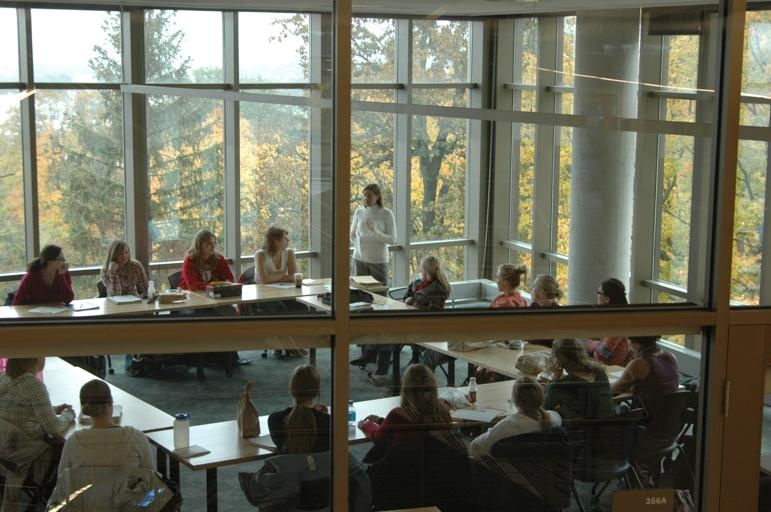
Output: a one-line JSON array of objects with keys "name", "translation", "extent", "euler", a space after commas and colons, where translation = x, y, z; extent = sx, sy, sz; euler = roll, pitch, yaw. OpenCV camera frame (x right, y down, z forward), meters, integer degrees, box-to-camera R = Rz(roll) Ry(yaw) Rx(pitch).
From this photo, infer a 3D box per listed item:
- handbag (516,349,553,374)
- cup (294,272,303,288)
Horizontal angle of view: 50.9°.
[{"name": "handbag", "translation": [0.612, 0.444, 3.417], "extent": [0.116, 0.048, 0.112], "euler": [-8, 10, -16]}, {"name": "cup", "translation": [-0.340, 0.092, 3.131], "extent": [0.050, 0.052, 0.049], "euler": [0, 3, 0]}]
